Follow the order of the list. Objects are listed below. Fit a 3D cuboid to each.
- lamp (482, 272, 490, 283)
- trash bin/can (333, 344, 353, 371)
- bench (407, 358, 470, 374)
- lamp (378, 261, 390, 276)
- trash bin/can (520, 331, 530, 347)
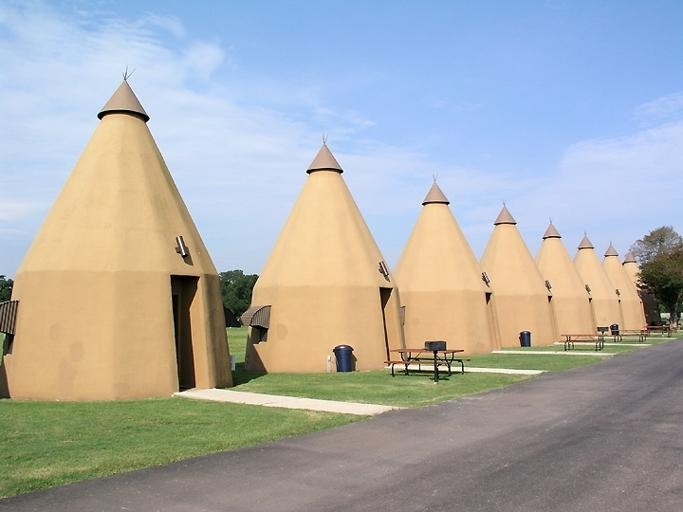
[{"bbox_3d":[9.155,1.364,33.973,0.187,0.728,0.770,-12,11,0],"label":"lamp"},{"bbox_3d":[0.118,4.165,21.739,0.805,1.057,0.702,0,-4,-7],"label":"trash bin/can"},{"bbox_3d":[3.847,4.454,21.507,1.507,0.336,1.474,-5,-11,30],"label":"bench"},{"bbox_3d":[2.002,0.554,25.100,0.432,0.718,0.800,-1,-4,5],"label":"lamp"},{"bbox_3d":[12.396,5.561,35.983,0.708,0.993,0.836,-2,-5,17],"label":"trash bin/can"}]
